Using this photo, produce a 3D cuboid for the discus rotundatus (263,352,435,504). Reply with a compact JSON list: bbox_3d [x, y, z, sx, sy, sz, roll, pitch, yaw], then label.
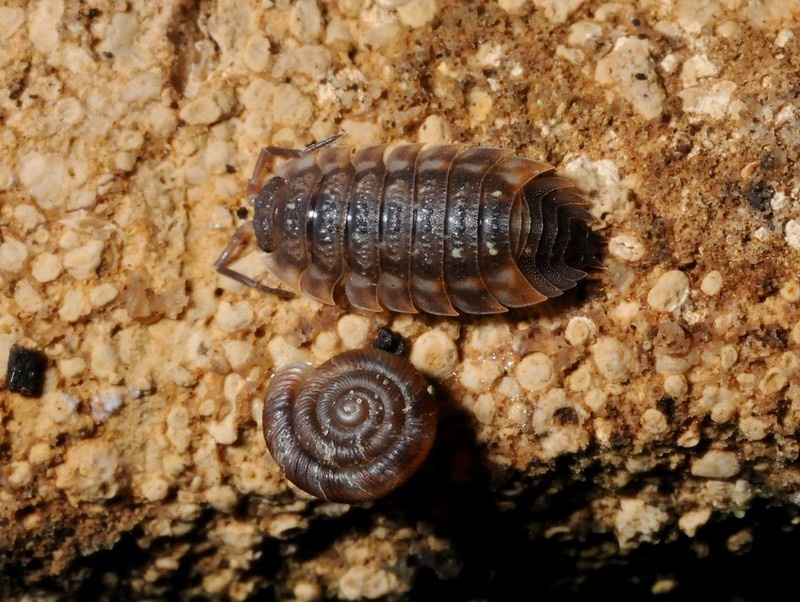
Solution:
[{"bbox_3d":[-0.313,0.736,6.070,0.977,0.712,0.472,-41,105,-40],"label":"discus rotundatus"}]
